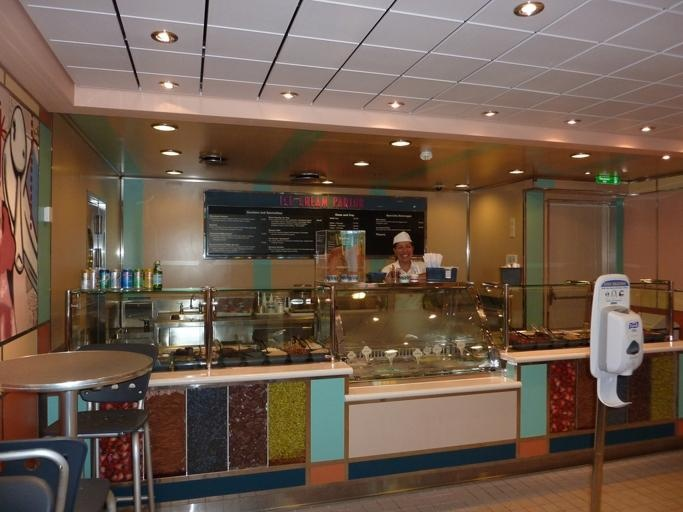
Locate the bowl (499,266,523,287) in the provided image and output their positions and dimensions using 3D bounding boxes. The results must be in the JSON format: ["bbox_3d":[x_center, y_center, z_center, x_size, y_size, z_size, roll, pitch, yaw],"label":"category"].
[{"bbox_3d":[1.459,0.170,4.441,0.246,0.202,0.161,-1,-1,8],"label":"bowl"}]

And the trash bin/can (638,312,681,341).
[{"bbox_3d":[2.951,0.625,4.873,0.388,0.324,0.275,1,3,43],"label":"trash bin/can"}]

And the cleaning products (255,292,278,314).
[{"bbox_3d":[-0.527,0.318,3.746,0.194,0.158,0.162,0,7,-9],"label":"cleaning products"}]

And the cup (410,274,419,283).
[{"bbox_3d":[0.598,0.184,4.232,0.076,0.062,0.051,0,-3,-7],"label":"cup"}]

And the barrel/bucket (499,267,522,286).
[{"bbox_3d":[1.432,0.170,4.453,0.217,0.180,0.155,-2,-2,28],"label":"barrel/bucket"}]

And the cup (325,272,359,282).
[{"bbox_3d":[0.013,0.162,4.064,0.267,0.073,0.081,-2,-2,-9],"label":"cup"}]

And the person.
[{"bbox_3d":[0.540,0.292,4.242,0.522,0.956,0.425,-8,8,-25],"label":"person"}]
